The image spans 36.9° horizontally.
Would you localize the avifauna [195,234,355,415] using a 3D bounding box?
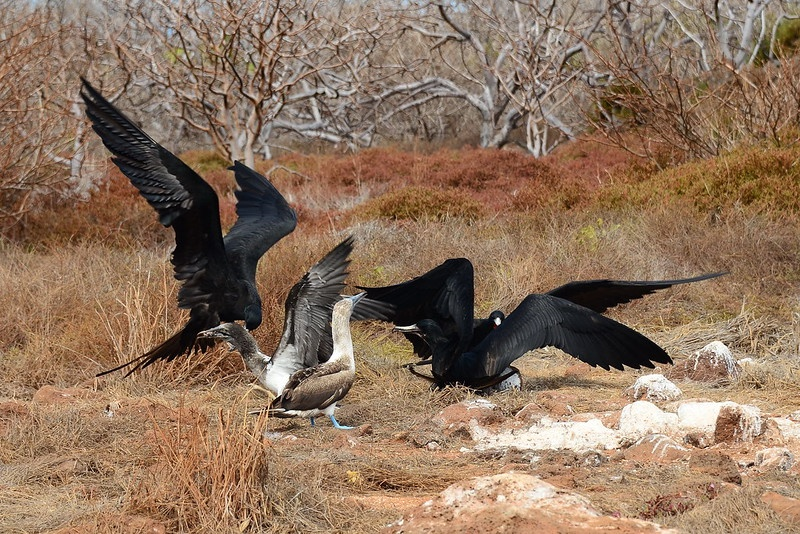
[{"bbox_3d":[-1.370,0.832,15.102,2.117,1.954,2.388,9,-29,-19],"label":"avifauna"}]
